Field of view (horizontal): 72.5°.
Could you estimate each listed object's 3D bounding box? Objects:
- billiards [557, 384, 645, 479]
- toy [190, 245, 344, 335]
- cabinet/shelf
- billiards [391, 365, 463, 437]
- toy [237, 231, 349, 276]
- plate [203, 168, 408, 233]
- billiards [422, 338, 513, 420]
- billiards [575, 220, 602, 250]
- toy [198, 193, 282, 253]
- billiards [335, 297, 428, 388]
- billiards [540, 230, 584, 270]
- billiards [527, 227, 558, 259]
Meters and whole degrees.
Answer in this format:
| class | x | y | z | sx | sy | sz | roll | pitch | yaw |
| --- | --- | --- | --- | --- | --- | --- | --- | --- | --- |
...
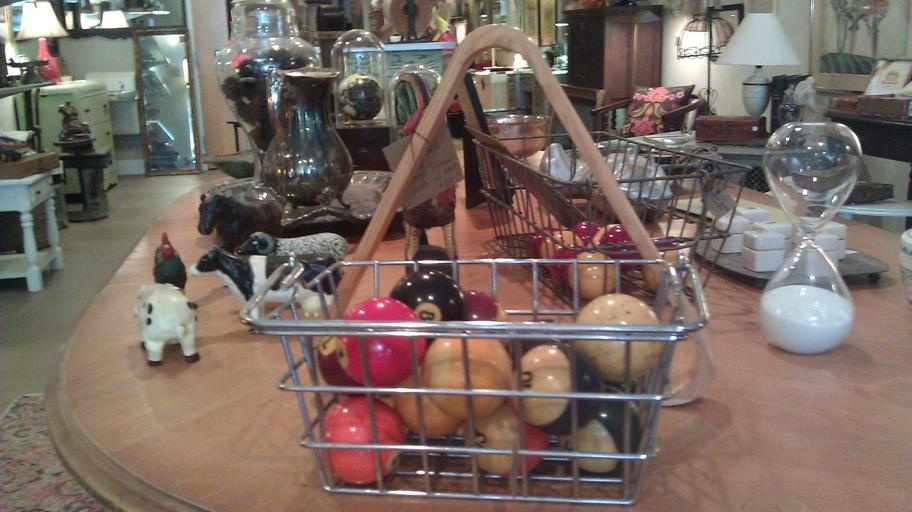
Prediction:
| class | x | y | z | sx | sy | sz | roll | pitch | yaw |
| --- | --- | --- | --- | --- | --- | --- | --- | --- | --- |
| billiards | 0.207 | 0.245 | 0.904 | 0.114 | 0.102 | 0.103 | -3 | 15 | -9 |
| toy | -0.289 | 0.020 | 1.049 | 0.315 | 0.136 | 0.216 | -8 | 14 | -30 |
| cabinet/shelf | 1.720 | -2.157 | 6.641 | 0.702 | 0.934 | 0.900 | -7 | 19 | -12 |
| billiards | -0.041 | 0.221 | 0.920 | 0.118 | 0.086 | 0.133 | -6 | 13 | -27 |
| toy | -0.310 | -0.015 | 1.203 | 0.235 | 0.087 | 0.074 | -2 | 21 | -21 |
| plate | -0.328 | -0.222 | 1.728 | 0.630 | 0.152 | 0.636 | -6 | 17 | -21 |
| billiards | 0.018 | 0.156 | 0.888 | 0.121 | 0.102 | 0.132 | -5 | 15 | -15 |
| billiards | 0.253 | -0.041 | 1.175 | 0.055 | 0.057 | 0.052 | -3 | -7 | -15 |
| toy | -0.478 | -0.080 | 1.423 | 0.197 | 0.115 | 0.102 | 3 | 19 | 9 |
| billiards | -0.104 | 0.133 | 0.922 | 0.128 | 0.130 | 0.114 | 10 | 35 | 0 |
| billiards | 0.201 | -0.018 | 1.198 | 0.069 | 0.066 | 0.088 | -1 | 2 | -5 |
| billiards | 0.166 | -0.036 | 1.262 | 0.057 | 0.070 | 0.067 | -1 | 59 | 3 |
